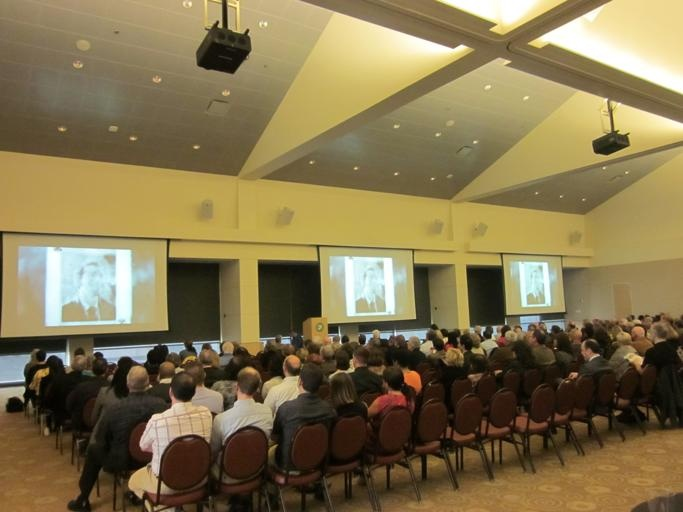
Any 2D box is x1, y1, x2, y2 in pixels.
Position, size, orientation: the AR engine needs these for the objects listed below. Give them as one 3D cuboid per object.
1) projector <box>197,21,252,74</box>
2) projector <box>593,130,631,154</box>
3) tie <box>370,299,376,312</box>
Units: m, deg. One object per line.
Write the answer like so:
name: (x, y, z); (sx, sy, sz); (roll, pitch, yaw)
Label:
projector: (-1.635, -2.730, 6.770); (0.661, 0.343, 0.670); (11, -38, -37)
projector: (5.541, -2.324, 10.479); (0.531, 0.355, 0.683); (-7, -5, -40)
tie: (0.945, 1.543, 15.219); (0.183, 0.319, 0.080); (7, -10, -42)
